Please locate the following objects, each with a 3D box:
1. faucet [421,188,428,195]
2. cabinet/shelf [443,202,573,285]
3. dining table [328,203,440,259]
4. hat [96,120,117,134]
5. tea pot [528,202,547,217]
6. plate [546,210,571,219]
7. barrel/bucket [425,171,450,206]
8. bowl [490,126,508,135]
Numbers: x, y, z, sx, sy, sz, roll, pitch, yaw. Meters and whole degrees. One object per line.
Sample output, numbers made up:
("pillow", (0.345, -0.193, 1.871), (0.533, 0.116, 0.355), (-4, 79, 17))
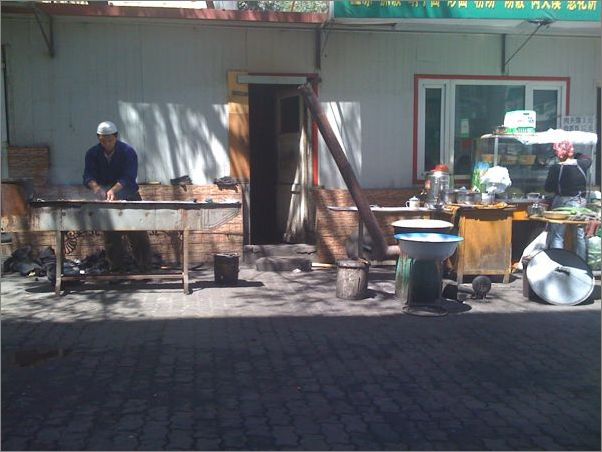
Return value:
("faucet", (2.377, -0.659, 13.843), (0.120, 0.050, 0.167), (-5, 15, 4))
("cabinet/shelf", (3.243, 0.558, 12.504), (1.200, 1.741, 1.829), (-1, 4, -4))
("dining table", (1.459, -0.224, 12.558), (1.684, 0.882, 0.880), (0, 7, 0))
("hat", (-3.173, -1.576, 11.806), (0.354, 0.179, 0.363), (1, 4, -3))
("tea pot", (4.131, -0.285, 12.476), (0.207, 0.209, 0.287), (0, -1, 2))
("plate", (4.278, -0.186, 11.939), (0.408, 0.123, 0.234), (2, 12, 20))
("barrel/bucket", (2.564, -0.684, 13.393), (0.483, 0.716, 0.695), (0, 10, 11))
("bowl", (3.776, -1.819, 13.674), (0.222, 0.147, 0.338), (-4, 12, -9))
